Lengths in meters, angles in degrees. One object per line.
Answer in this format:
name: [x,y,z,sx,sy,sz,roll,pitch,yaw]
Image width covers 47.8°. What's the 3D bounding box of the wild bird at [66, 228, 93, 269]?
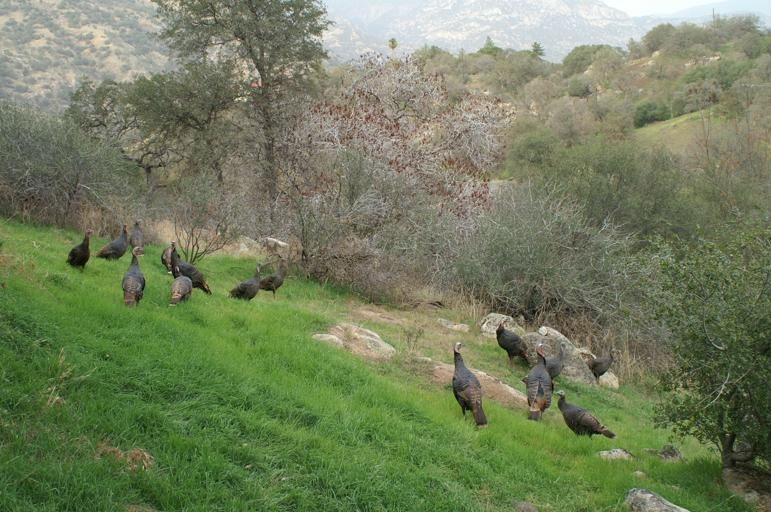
wild bird: [-14.736,-0.329,42.273,1.085,2.017,0.878,14,-4,-34]
